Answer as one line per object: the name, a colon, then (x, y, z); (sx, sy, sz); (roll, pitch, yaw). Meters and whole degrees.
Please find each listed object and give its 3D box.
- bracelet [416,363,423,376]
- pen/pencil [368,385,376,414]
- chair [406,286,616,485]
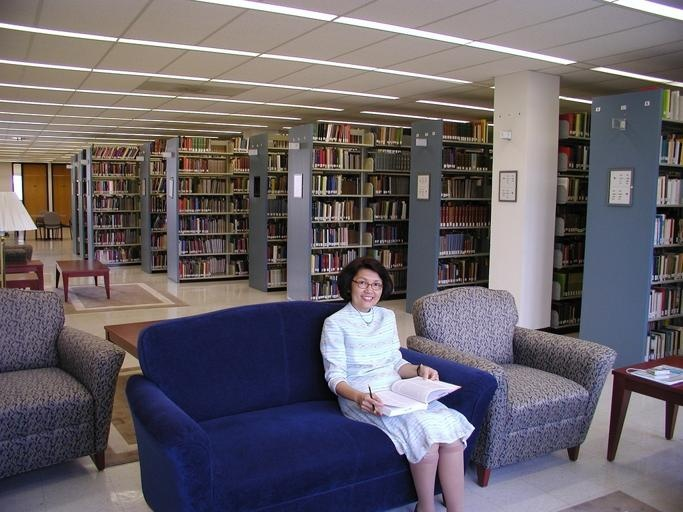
bracelet: (0.480, 0.706, 3.038); (0.038, 0.054, 0.026); (-3, -9, 22)
pen/pencil: (0.170, 0.792, 2.734); (0.028, 0.128, 0.020); (4, -21, -39)
chair: (1.129, 0.829, 3.821); (1.479, 1.371, 1.245); (-2, 3, -26)
